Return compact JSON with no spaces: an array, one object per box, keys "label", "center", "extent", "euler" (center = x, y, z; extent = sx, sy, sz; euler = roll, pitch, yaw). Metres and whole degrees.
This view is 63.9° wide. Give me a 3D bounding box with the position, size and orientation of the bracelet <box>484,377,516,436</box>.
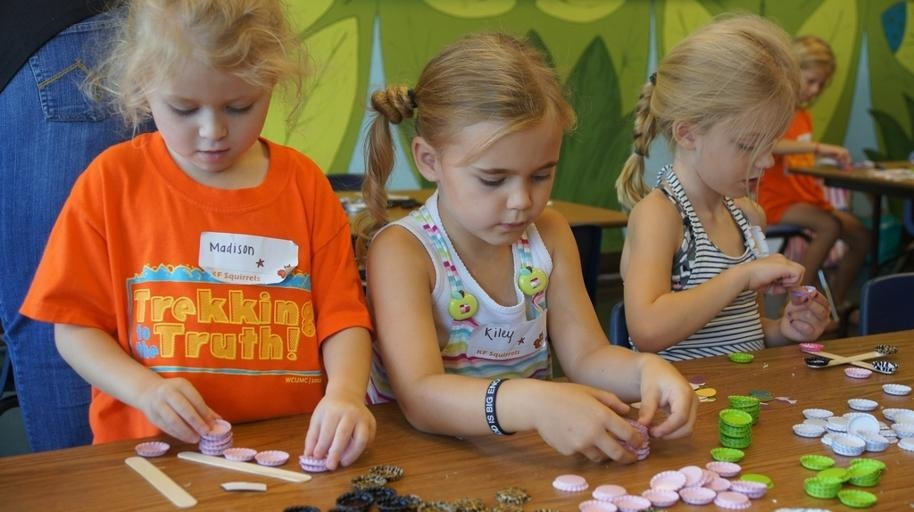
[{"label":"bracelet","center":[0.101,0.377,1.822],"extent":[0.038,0.112,0.098],"euler":[-4,-9,14]}]
